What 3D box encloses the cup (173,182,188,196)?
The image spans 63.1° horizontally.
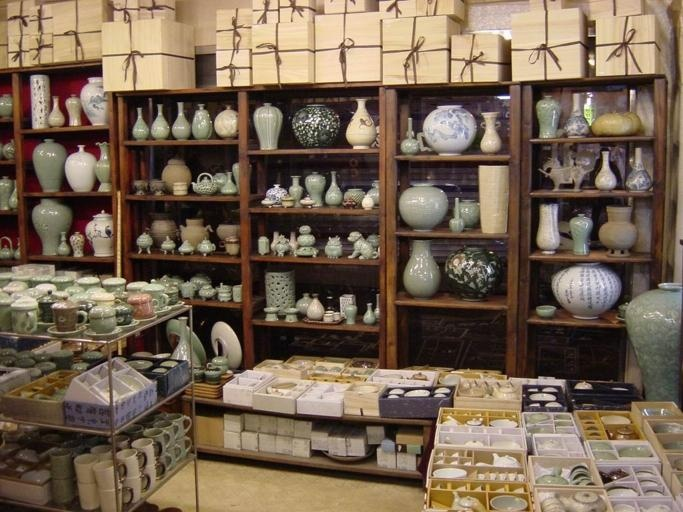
[{"bbox_3d":[-1.324,-0.561,4.683,0.148,0.091,0.119,0,0,9],"label":"cup"}]

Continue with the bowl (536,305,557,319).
[{"bbox_3d":[1.497,0.409,4.074,0.136,0.077,0.129,1,4,0],"label":"bowl"}]

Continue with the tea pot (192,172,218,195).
[{"bbox_3d":[-1.101,-0.609,4.658,0.285,0.185,0.192,2,6,4],"label":"tea pot"}]
